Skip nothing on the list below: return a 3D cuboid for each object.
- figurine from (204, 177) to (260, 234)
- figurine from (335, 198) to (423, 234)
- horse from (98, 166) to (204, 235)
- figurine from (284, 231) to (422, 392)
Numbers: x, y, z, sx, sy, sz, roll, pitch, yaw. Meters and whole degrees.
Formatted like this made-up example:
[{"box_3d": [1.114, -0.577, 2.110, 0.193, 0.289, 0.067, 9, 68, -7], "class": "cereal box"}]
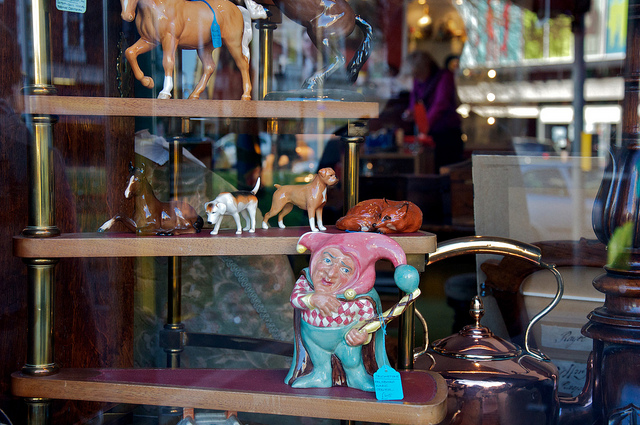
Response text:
[{"box_3d": [-0.241, -0.017, 2.817, 0.195, 0.158, 0.068, -6, 9, -39], "class": "figurine"}, {"box_3d": [0.172, 0.011, 2.816, 0.253, 0.095, 0.105, 0, 5, 2], "class": "figurine"}, {"box_3d": [-0.486, -0.009, 2.905, 0.334, 0.261, 0.128, 0, -1, -13], "class": "horse"}, {"box_3d": [0.097, 0.273, 2.719, 0.362, 0.474, 0.161, 1, 3, 2], "class": "figurine"}]
